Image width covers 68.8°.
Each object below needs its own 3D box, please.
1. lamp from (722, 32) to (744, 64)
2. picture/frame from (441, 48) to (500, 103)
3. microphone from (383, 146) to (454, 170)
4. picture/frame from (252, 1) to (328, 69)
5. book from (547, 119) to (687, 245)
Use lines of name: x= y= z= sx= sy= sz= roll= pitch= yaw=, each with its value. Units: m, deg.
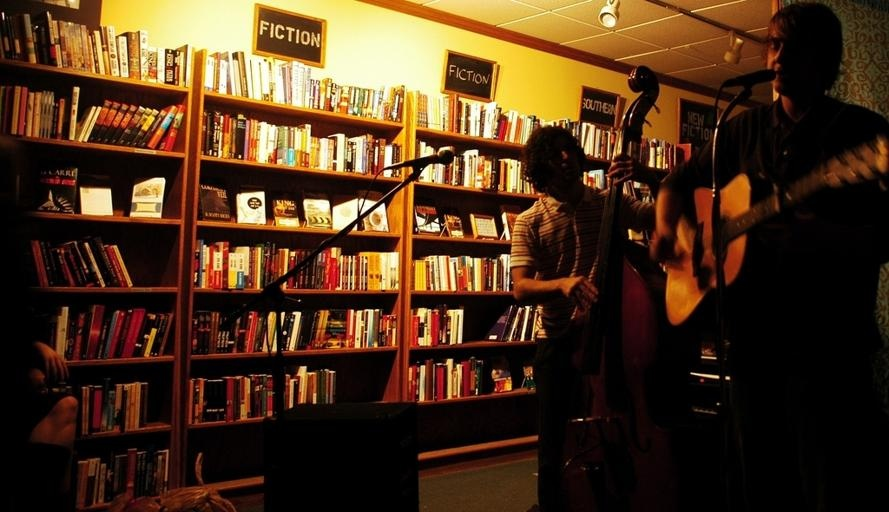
lamp: x=2.856 y=-2.062 z=6.418 sx=0.163 sy=0.271 sz=0.283 roll=23 pitch=22 yaw=-2
picture/frame: x=0.226 y=-1.679 z=6.076 sx=0.670 sy=0.423 sz=0.088 roll=9 pitch=3 yaw=-22
microphone: x=-0.103 y=-0.521 z=3.548 sx=0.319 sy=0.140 sz=0.329 roll=0 pitch=-5 yaw=5
picture/frame: x=-1.275 y=-1.779 z=5.264 sx=0.727 sy=0.464 sz=0.093 roll=4 pitch=0 yaw=-25
book: x=1.051 y=-0.466 z=4.098 sx=1.319 sy=0.439 sz=0.337 roll=17 pitch=-13 yaw=-35
